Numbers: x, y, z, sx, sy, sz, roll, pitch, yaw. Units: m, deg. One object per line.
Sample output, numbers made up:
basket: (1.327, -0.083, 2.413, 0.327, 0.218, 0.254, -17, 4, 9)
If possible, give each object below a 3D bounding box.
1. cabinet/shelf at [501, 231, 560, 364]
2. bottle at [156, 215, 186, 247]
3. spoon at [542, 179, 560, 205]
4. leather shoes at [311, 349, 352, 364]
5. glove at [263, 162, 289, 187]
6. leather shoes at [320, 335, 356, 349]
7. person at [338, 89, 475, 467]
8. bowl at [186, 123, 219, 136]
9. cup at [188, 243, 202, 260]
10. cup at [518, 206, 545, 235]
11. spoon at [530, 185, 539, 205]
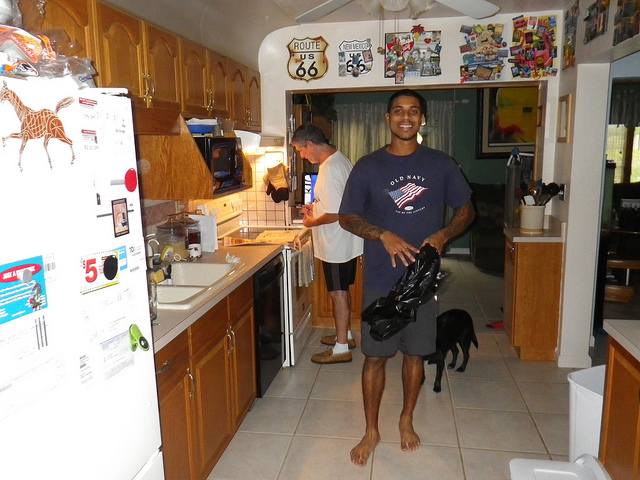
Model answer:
cabinet/shelf: (1.782, 0.438, 3.944, 0.388, 1.047, 0.457, 1, 12, 11)
bottle: (-0.979, -0.067, 3.147, 0.175, 0.202, 0.179, 0, -1, -1)
spoon: (1.922, -0.392, 3.883, 0.142, 0.178, 0.260, 5, 13, 25)
leather shoes: (0.098, 0.957, 3.797, 0.266, 0.090, 0.136, 3, -1, 0)
glove: (-0.400, -0.605, 4.321, 0.217, 0.235, 0.207, 2, 5, 2)
leather shoes: (0.155, 0.871, 4.091, 0.295, 0.120, 0.118, 3, 1, -1)
person: (0.496, 0.235, 2.550, 0.729, 2.065, 0.612, -2, 10, 0)
bowl: (-0.739, -0.708, 2.968, 0.192, 0.062, 0.078, -7, 13, -29)
cup: (-0.852, 0.074, 3.196, 0.088, 0.070, 0.093, 0, -5, 0)
cup: (1.751, -0.182, 3.882, 0.196, 0.235, 0.164, 7, 14, 34)
spoon: (1.787, -0.375, 3.864, 0.062, 0.150, 0.118, 3, 12, 18)
